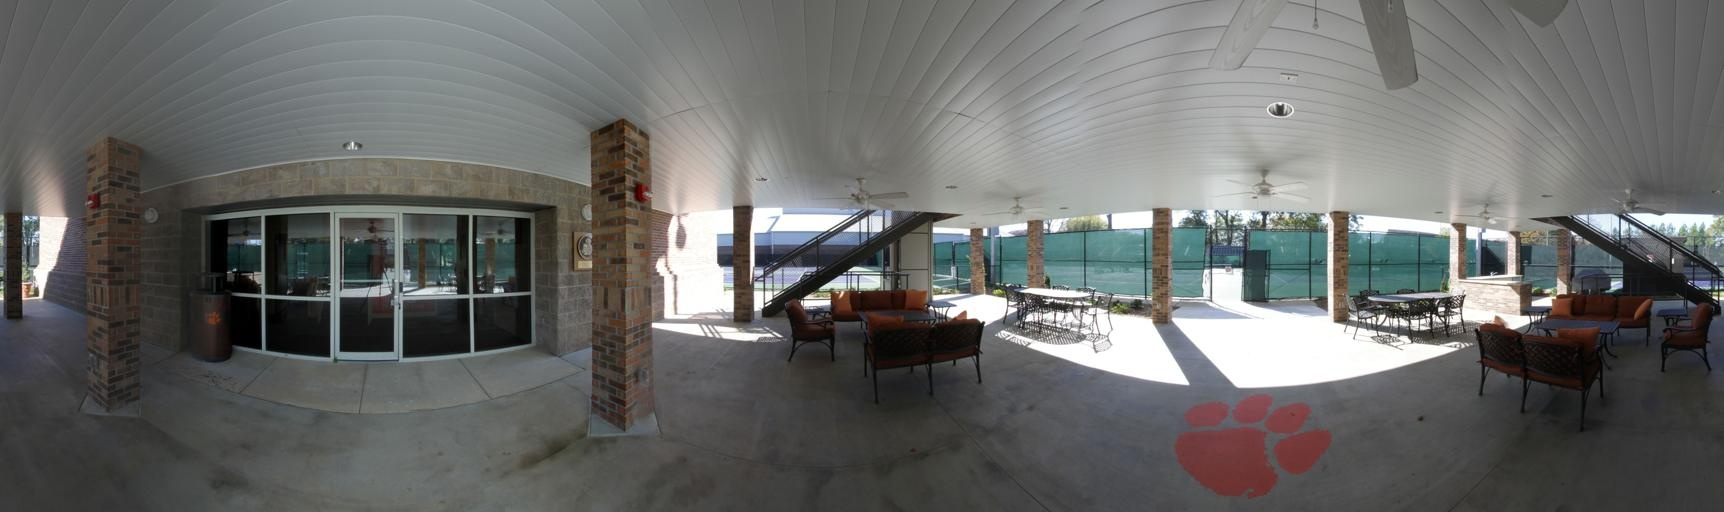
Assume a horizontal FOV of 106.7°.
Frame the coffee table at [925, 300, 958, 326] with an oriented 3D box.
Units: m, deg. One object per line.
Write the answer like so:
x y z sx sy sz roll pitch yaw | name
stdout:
3.890 2.872 31.195 1.389 0.654 1.882 2 2 8 | coffee table

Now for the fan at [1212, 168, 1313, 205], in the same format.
17.488 -3.024 27.678 3.496 0.789 2.987 -20 23 -33 | fan

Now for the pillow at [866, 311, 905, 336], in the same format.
0.992 2.877 26.989 1.522 0.802 0.377 0 -12 -6 | pillow

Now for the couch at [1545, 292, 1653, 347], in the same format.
33.789 2.593 29.259 1.537 1.039 3.141 -31 18 -33 | couch

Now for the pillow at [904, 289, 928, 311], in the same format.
2.614 2.104 30.719 1.490 0.803 0.388 4 -3 1 | pillow

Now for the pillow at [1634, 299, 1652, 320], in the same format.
35.674 2.338 29.125 1.311 0.904 0.386 -1 0 -23 | pillow

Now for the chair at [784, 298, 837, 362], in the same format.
-1.478 3.315 29.358 3.777 2.156 3.346 0 5 -6 | chair

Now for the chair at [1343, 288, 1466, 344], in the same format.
25.512 2.751 30.095 5.476 1.895 2.120 -1 1 -7 | chair
